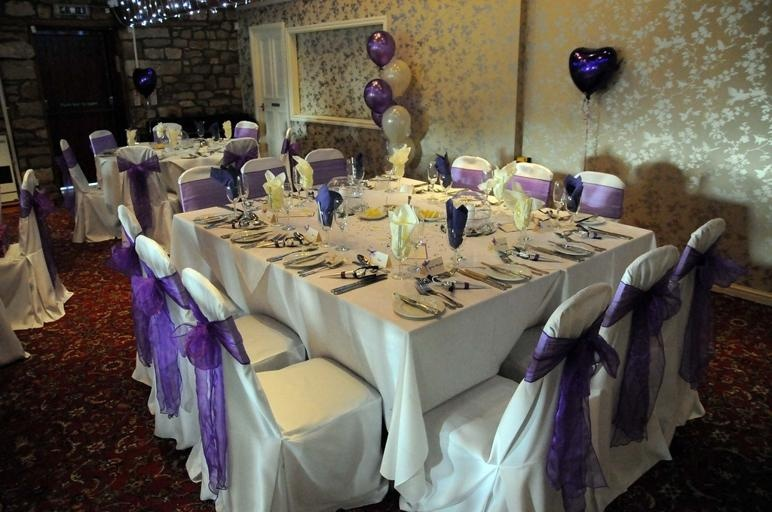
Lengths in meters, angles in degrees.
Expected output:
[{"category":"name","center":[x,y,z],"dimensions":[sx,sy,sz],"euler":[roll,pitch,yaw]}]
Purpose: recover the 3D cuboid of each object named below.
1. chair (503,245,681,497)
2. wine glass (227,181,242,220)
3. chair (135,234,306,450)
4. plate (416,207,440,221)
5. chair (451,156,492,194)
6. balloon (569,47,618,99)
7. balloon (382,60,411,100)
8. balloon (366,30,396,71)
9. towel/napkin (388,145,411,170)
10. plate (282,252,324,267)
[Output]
[{"category":"chair","center":[1.107,0.659,2.775],"dimensions":[0.875,0.935,0.576],"euler":[-28,38,-28]},{"category":"wine glass","center":[-1.129,-0.409,3.859],"dimensions":[0.113,0.331,0.127],"euler":[-7,33,-20]},{"category":"chair","center":[-0.942,0.522,3.009],"dimensions":[0.671,0.934,0.710],"euler":[-25,52,-37]},{"category":"plate","center":[0.300,-0.303,3.799],"dimensions":[0.130,0.064,0.135],"euler":[14,22,37]},{"category":"chair","center":[0.781,-0.730,4.765],"dimensions":[0.334,0.358,0.264],"euler":[15,24,33]},{"category":"balloon","center":[2.075,-1.811,5.168],"dimensions":[0.411,0.491,0.314],"euler":[-6,17,-21]},{"category":"balloon","center":[0.149,-2.281,6.745],"dimensions":[0.374,0.503,0.387],"euler":[-3,9,-20]},{"category":"balloon","center":[-0.064,-2.654,6.713],"dimensions":[0.364,0.502,0.415],"euler":[0,-6,-2]},{"category":"towel/napkin","center":[0.111,-0.863,4.576],"dimensions":[0.179,0.176,0.327],"euler":[0,16,-1]},{"category":"plate","center":[-0.513,0.023,3.211],"dimensions":[0.158,0.026,0.105],"euler":[-15,11,-19]}]
